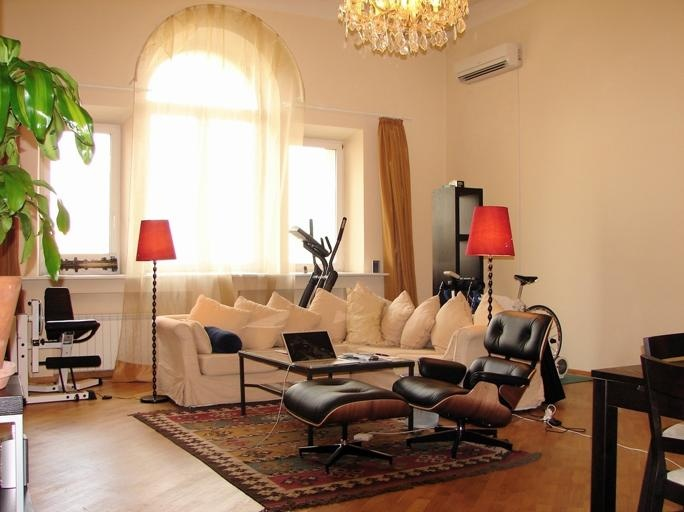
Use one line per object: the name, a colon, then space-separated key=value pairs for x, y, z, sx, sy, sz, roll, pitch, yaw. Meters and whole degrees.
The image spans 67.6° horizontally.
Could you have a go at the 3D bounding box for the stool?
stool: x=0.009 y=1.146 z=3.543 sx=0.693 sy=0.507 sz=0.961 roll=-1 pitch=-4 yaw=-21

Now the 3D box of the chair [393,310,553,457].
chair: x=0.913 y=0.851 z=3.903 sx=1.094 sy=1.066 sz=0.954 roll=2 pitch=-5 yaw=-23

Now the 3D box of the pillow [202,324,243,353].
pillow: x=-1.142 y=0.819 z=4.951 sx=0.211 sy=0.181 sz=0.428 roll=-5 pitch=-1 yaw=-27

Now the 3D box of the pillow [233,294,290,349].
pillow: x=-0.932 y=0.796 z=5.329 sx=0.382 sy=0.429 sz=0.746 roll=8 pitch=-14 yaw=-44

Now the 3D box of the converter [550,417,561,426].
converter: x=1.765 y=1.386 z=4.265 sx=0.047 sy=0.023 sz=0.078 roll=1 pitch=1 yaw=0

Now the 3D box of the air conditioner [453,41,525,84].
air conditioner: x=2.089 y=-2.811 z=7.478 sx=0.308 sy=0.337 sz=1.020 roll=-18 pitch=12 yaw=-30
